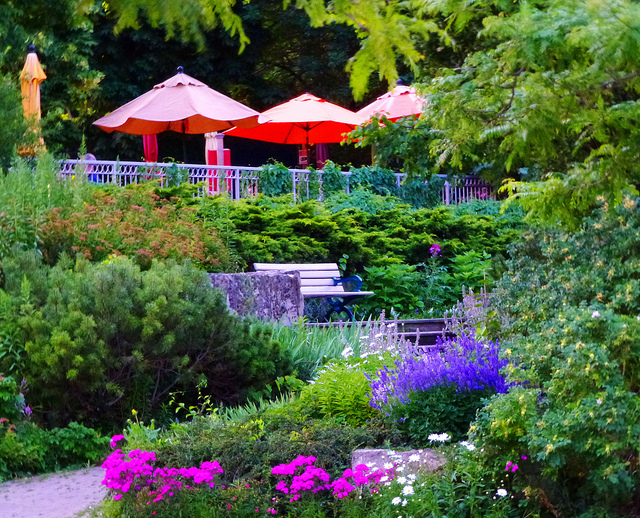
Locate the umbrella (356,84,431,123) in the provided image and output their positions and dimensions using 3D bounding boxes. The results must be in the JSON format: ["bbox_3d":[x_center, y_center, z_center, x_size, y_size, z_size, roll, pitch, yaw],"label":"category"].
[{"bbox_3d":[1.317,-2.648,18.186,0.957,0.388,1.069,7,-3,-14],"label":"umbrella"}]

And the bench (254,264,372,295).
[{"bbox_3d":[-0.074,0.231,12.767,0.750,0.411,1.401,1,4,40],"label":"bench"}]

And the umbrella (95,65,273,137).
[{"bbox_3d":[-2.282,-2.573,18.005,2.411,1.039,3.592,-2,3,-5],"label":"umbrella"}]

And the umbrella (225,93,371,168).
[{"bbox_3d":[-0.275,-2.464,19.955,2.190,1.203,2.362,0,-11,-4],"label":"umbrella"}]
